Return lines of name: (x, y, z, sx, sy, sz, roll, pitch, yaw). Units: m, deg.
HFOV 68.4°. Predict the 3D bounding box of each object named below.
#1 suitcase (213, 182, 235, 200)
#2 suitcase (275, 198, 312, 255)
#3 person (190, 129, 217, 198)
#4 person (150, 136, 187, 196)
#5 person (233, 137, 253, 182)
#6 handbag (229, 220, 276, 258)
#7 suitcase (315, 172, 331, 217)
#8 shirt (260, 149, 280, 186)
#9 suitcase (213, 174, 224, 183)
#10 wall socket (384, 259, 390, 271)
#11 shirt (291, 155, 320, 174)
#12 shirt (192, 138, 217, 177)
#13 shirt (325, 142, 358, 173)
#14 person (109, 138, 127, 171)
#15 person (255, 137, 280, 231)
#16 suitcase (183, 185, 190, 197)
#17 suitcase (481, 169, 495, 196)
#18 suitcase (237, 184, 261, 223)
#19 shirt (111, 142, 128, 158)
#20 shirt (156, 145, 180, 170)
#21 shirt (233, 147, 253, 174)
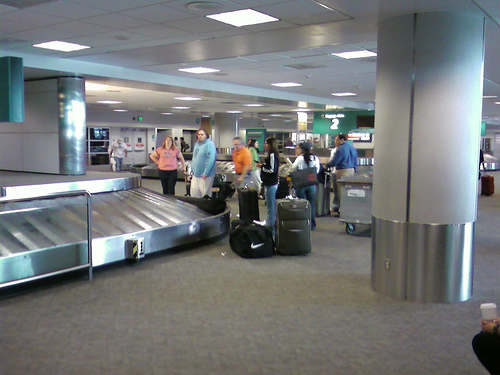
suitcase: (-0.489, 0.054, 7.519, 0.205, 0.335, 0.468, 0, 8, 12)
suitcase: (0.687, 0.641, 6.113, 0.666, 0.952, 0.514, 0, 4, -6)
person: (-0.941, -0.476, 7.368, 0.507, 1.365, 0.538, -3, 8, -14)
person: (-2.051, -0.525, 9.202, 0.868, 1.510, 1.125, -3, 8, -13)
person: (-0.149, -0.633, 7.649, 0.360, 0.804, 0.675, -2, 8, -7)
handbag: (0.049, 0.853, 6.152, 0.597, 0.655, 0.900, -7, 1, -23)
suitcase: (1.800, 0.180, 8.891, 0.535, 1.060, 0.254, -8, 10, -41)
shirt: (0.354, -0.389, 7.172, 0.414, 0.681, 0.569, 2, 7, -6)
suitcase: (-0.910, -0.276, 10.484, 0.256, 0.260, 0.477, -1, -3, -5)
wall socket: (1.621, 0.920, 4.349, 0.098, 0.104, 0.076, 2, -2, -33)
shirt: (1.135, -0.464, 7.457, 0.542, 0.547, 0.336, 4, -7, 4)
shirt: (-0.947, -0.601, 7.447, 0.466, 0.799, 0.730, -5, 8, -39)
shirt: (2.180, -0.701, 8.606, 0.956, 0.654, 0.522, -1, 4, -38)
person: (-5.660, -1.402, 15.785, 0.588, 1.403, 1.283, -5, 8, -22)
person: (0.330, -0.054, 7.266, 0.783, 1.824, 0.785, 1, 10, -5)
suitcase: (-1.802, 0.079, 10.353, 0.225, 0.385, 0.264, 0, -4, -30)
suitcase: (8.368, -0.105, 12.915, 0.596, 1.070, 1.107, 0, 3, 36)
suitcase: (-0.026, 0.326, 7.164, 0.353, 0.767, 0.659, -7, 17, -11)
shirt: (-5.641, -1.591, 15.820, 0.531, 0.636, 0.510, -5, 8, -24)
shirt: (-2.051, -0.745, 9.154, 0.589, 0.626, 0.364, -2, 13, -20)
shirt: (-0.188, -0.584, 7.865, 0.346, 0.574, 0.669, -11, 20, -27)
